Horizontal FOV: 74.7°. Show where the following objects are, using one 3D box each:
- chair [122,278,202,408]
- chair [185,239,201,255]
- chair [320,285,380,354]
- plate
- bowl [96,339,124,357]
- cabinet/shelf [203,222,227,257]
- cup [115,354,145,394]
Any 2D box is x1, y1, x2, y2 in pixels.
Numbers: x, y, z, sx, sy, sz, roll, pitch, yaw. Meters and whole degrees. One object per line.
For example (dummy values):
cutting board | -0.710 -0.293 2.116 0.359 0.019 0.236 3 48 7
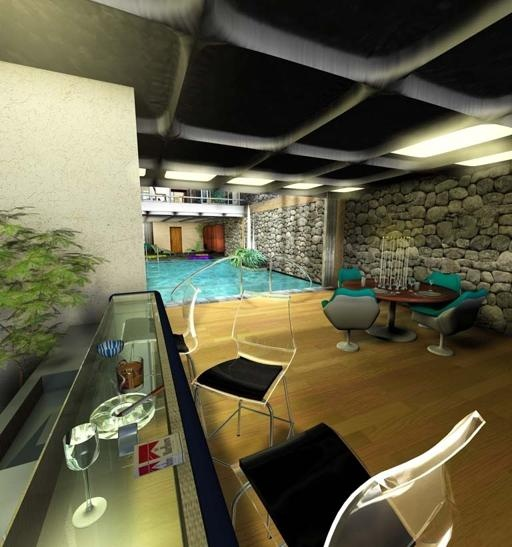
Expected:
chair | -0.704 0.490 2.454 0.693 0.722 0.460 -8 13 -11
chair | -3.277 -1.462 18.216 0.915 0.691 1.528 -2 9 -9
chair | 0.813 0.430 3.374 0.790 0.657 0.670 -1 5 3
plate | -0.474 0.501 1.208 0.172 0.034 0.158 -9 14 -33
bowl | -0.714 0.376 1.681 0.098 0.065 0.150 -1 9 -5
cabinet/shelf | -2.169 -1.813 17.045 0.705 1.548 4.069 -3 9 -13
cup | -0.501 0.449 1.453 0.134 0.104 0.114 0 2 4
